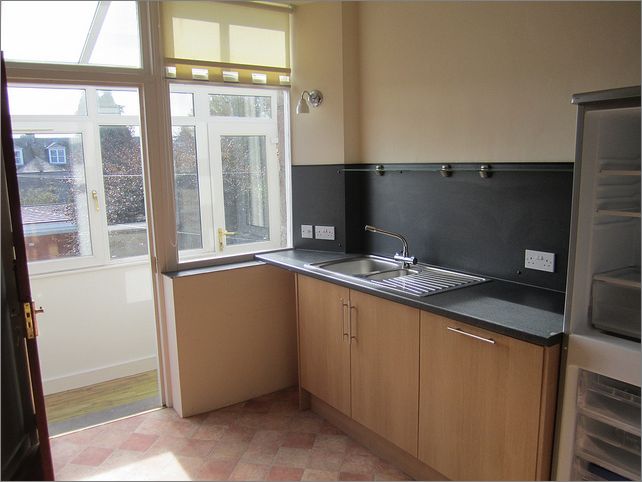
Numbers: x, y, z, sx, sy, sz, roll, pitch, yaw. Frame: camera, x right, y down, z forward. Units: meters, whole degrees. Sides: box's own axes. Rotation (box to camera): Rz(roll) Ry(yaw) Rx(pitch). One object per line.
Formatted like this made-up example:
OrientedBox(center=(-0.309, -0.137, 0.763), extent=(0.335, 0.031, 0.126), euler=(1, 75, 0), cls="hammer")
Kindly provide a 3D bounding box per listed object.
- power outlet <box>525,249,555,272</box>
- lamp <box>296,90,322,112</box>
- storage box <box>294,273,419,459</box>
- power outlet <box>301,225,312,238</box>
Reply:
OrientedBox(center=(1.264, 0.108, 2.717), extent=(0.016, 0.091, 0.120), euler=(-7, 10, -38), cls="power outlet")
OrientedBox(center=(-0.089, -1.080, 3.645), extent=(0.156, 0.171, 0.229), euler=(4, 17, 37), cls="lamp")
OrientedBox(center=(0.334, 0.699, 3.156), extent=(0.405, 0.965, 1.077), euler=(-16, 21, -42), cls="storage box")
OrientedBox(center=(-0.113, -0.086, 3.875), extent=(0.093, 0.096, 0.016), euler=(6, 15, 30), cls="power outlet")
